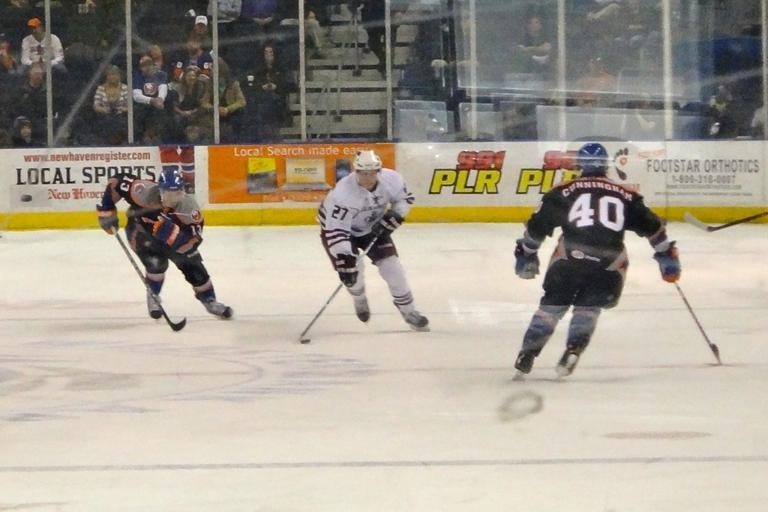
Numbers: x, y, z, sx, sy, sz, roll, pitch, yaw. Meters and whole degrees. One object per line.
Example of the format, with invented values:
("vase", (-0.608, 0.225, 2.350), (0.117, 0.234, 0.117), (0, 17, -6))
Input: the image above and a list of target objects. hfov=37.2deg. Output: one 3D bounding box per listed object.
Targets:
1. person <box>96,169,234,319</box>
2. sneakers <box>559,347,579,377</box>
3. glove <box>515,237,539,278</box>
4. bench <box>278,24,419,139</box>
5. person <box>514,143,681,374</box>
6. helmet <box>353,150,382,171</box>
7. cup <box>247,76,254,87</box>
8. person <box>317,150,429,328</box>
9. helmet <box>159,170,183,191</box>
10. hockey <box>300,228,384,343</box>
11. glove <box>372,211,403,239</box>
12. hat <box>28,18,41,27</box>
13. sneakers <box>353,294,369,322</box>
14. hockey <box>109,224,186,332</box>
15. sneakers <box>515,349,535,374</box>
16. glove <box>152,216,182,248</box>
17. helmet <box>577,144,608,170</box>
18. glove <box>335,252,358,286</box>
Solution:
("person", (-1.777, -0.111, 9.446), (0.974, 1.264, 0.692), (8, 13, 41))
("sneakers", (1.275, 0.744, 7.974), (0.062, 0.185, 0.133), (17, 24, -46))
("glove", (1.021, -0.011, 8.323), (0.222, 0.214, 0.271), (0, 22, 4))
("bench", (-0.475, -2.155, 14.668), (1.804, 1.432, 0.397), (1, -7, 6))
("person", (1.474, 0.017, 8.088), (1.085, 1.624, 0.527), (0, 10, 4))
("helmet", (-0.125, -0.738, 8.976), (0.164, 0.170, 0.194), (-2, -13, -6))
("cup", (-1.696, -2.228, 14.498), (0.129, 0.154, 0.118), (-2, -15, -1))
("person", (-0.088, -0.134, 9.206), (0.855, 1.443, 0.513), (-1, 10, -7))
("helmet", (-1.670, -0.606, 8.945), (0.160, 0.154, 0.164), (2, 49, 1))
("hockey", (-0.338, 0.276, 9.666), (0.178, 1.170, 0.106), (43, -22, -18))
("glove", (0.023, -0.266, 9.239), (0.251, 0.231, 0.165), (0, 9, 3))
("hat", (-4.369, -2.923, 14.254), (0.109, 0.083, 0.141), (7, 11, -3))
("sneakers", (-0.174, 0.436, 9.398), (0.093, 0.242, 0.183), (-7, 18, 9))
("hockey", (-2.003, 0.198, 9.764), (0.176, 0.136, 1.084), (-16, 59, -45))
("sneakers", (0.993, 0.740, 8.035), (0.138, 0.163, 0.101), (25, -19, -2))
("glove", (-1.770, -0.208, 9.295), (0.255, 0.255, 0.089), (6, 11, 34))
("helmet", (1.467, -0.708, 8.036), (0.228, 0.162, 0.159), (2, 4, 10))
("glove", (-0.303, 0.102, 9.071), (0.200, 0.231, 0.115), (-2, 1, -1))
